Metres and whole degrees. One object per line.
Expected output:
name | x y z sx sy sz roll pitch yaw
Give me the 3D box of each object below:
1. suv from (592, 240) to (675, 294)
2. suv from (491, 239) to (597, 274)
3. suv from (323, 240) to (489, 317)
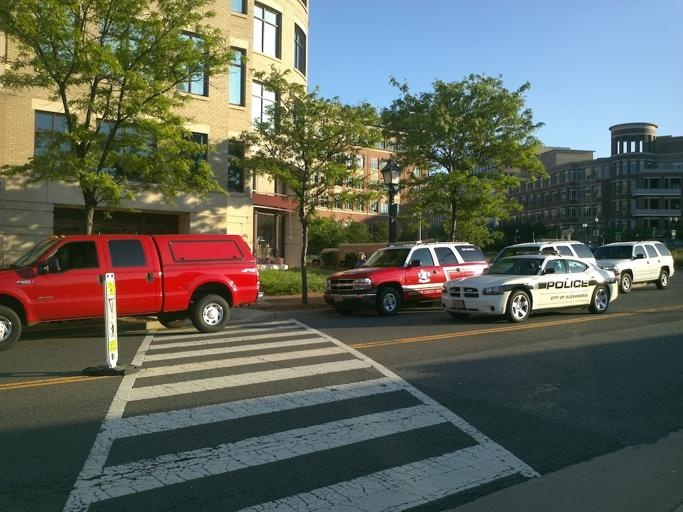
suv | 11.585 0.508 25.788 3.290 1.520 2.096 2 -4 -33
suv | 7.043 -0.182 21.430 3.141 1.197 1.535 3 -4 -33
suv | 1.937 0.630 19.540 4.356 1.725 2.290 0 -6 -35
